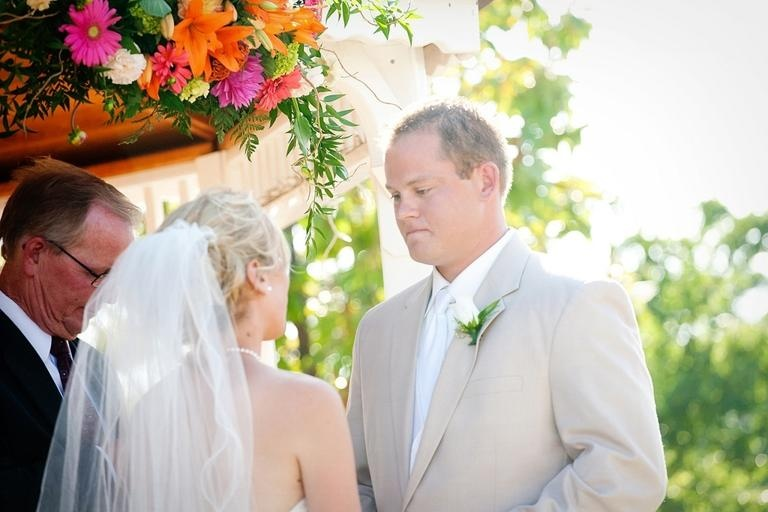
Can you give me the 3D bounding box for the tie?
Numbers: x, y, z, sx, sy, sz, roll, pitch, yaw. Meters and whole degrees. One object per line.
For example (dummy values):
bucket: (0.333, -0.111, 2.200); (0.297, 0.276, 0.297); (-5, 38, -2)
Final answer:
tie: (0.271, 0.749, 5.184); (0.268, 1.044, 0.052); (-3, -28, 39)
